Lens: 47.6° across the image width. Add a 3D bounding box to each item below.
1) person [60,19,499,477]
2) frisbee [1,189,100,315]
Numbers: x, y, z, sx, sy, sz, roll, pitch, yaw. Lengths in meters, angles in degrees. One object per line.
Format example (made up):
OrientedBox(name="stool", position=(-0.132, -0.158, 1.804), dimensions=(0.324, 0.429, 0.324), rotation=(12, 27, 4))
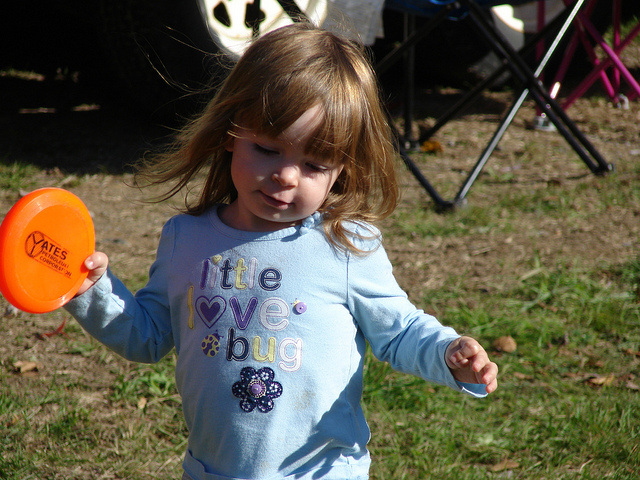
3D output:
OrientedBox(name="person", position=(-0.132, 0.253, 2.432), dimensions=(1.232, 1.598, 0.942), rotation=(20, 38, 13))
OrientedBox(name="frisbee", position=(-0.831, 0.043, 2.227), dimensions=(0.323, 0.326, 0.212), rotation=(-23, 48, -36))
